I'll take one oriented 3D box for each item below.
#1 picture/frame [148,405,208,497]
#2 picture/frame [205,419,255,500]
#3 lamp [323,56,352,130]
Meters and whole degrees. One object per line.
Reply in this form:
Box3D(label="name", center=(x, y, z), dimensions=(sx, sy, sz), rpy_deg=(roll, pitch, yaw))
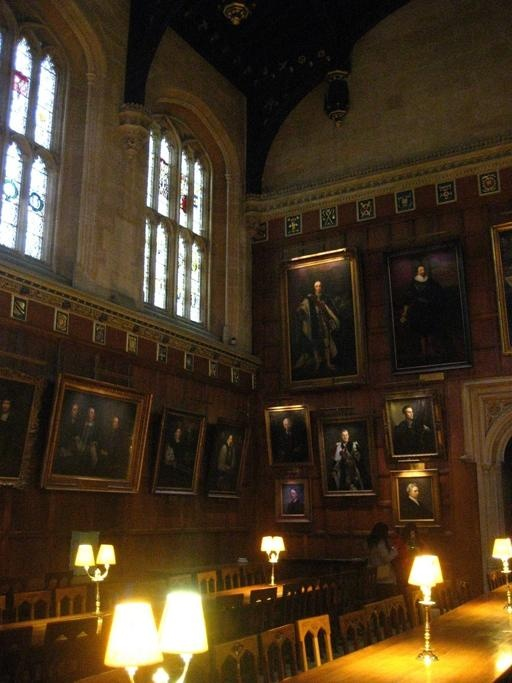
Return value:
Box3D(label="picture/frame", center=(-1.329, 1.783, 9.915), dimensions=(0.208, 1.481, 1.370), rpy_deg=(-7, -23, 30))
Box3D(label="picture/frame", center=(-0.536, 2.179, 11.173), dimensions=(0.250, 1.522, 1.412), rpy_deg=(-6, -19, 28))
Box3D(label="lamp", center=(1.684, -5.153, 12.435), dimensions=(0.534, 1.521, 0.564), rpy_deg=(4, -16, -13))
